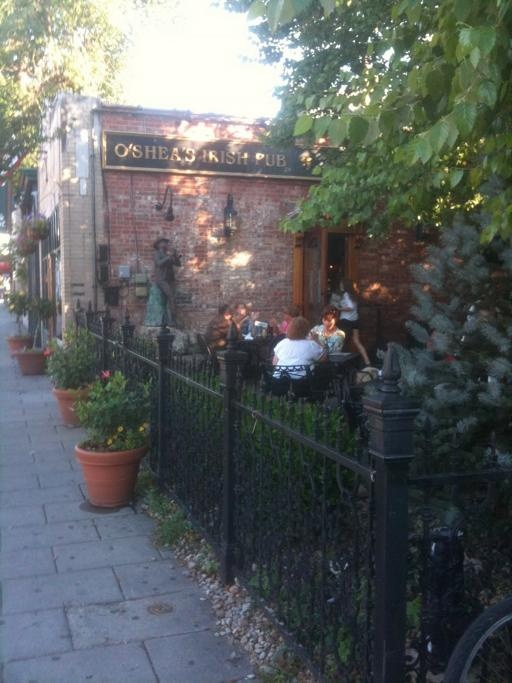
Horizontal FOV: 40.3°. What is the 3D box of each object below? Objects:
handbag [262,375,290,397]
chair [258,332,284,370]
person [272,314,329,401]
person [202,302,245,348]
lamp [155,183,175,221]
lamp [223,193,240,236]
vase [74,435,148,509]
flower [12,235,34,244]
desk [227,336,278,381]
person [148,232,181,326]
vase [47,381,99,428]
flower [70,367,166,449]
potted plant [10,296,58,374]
[{"bbox_3d":[0.181,0.415,6.600,0.229,0.314,0.280,1,-3,7],"label":"handbag"},{"bbox_3d":[0.189,0.102,9.370,0.303,0.520,0.452,1,4,12],"label":"chair"},{"bbox_3d":[0.422,0.140,6.731,0.440,0.836,0.625,8,13,29],"label":"person"},{"bbox_3d":[-0.475,-0.212,9.756,0.502,0.860,0.479,-1,-17,19],"label":"person"},{"bbox_3d":[-1.601,-2.438,12.121,0.310,0.606,0.141,-2,5,-13],"label":"lamp"},{"bbox_3d":[-0.469,-2.313,12.614,0.260,0.788,0.331,-1,4,-3],"label":"lamp"},{"bbox_3d":[-1.098,0.959,5.214,0.438,0.405,0.447,1,-2,42],"label":"vase"},{"bbox_3d":[-5.514,-2.462,16.532,0.481,0.257,0.610,-9,10,-42],"label":"flower"},{"bbox_3d":[0.057,0.204,9.142,0.423,0.683,0.605,2,4,28],"label":"desk"},{"bbox_3d":[-1.541,-1.046,11.904,0.468,1.482,0.753,4,6,44],"label":"person"},{"bbox_3d":[-2.196,0.736,8.354,0.446,0.528,0.432,15,22,34],"label":"vase"},{"bbox_3d":[-1.069,0.506,5.421,0.525,0.698,0.488,-5,11,-21],"label":"flower"},{"bbox_3d":[-4.533,-0.250,14.310,1.015,1.921,1.191,2,12,-4],"label":"potted plant"}]
